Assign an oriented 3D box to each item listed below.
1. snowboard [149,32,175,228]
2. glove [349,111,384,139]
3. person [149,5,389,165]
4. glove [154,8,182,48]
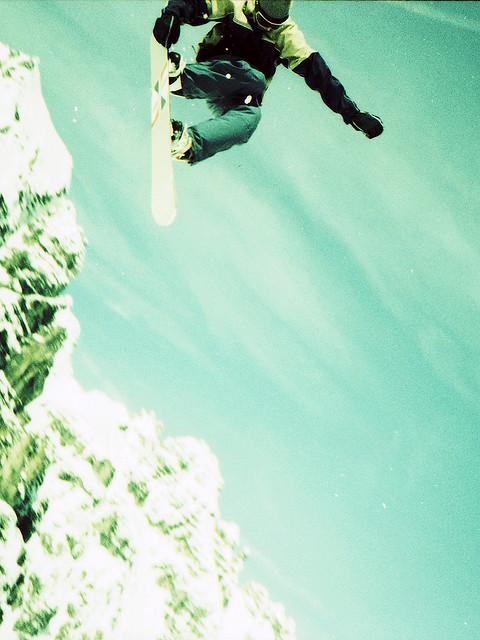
[{"bbox_3d":[-0.409,-1.069,4.511,0.117,1.178,0.212,3,-9,-43],"label":"snowboard"},{"bbox_3d":[0.781,-1.213,4.797,0.205,0.155,0.138,34,11,7],"label":"glove"},{"bbox_3d":[0.121,-1.691,4.965,0.943,0.755,1.597,28,35,0],"label":"person"},{"bbox_3d":[-0.409,-1.625,4.324,0.128,0.214,0.072,1,18,2],"label":"glove"}]
